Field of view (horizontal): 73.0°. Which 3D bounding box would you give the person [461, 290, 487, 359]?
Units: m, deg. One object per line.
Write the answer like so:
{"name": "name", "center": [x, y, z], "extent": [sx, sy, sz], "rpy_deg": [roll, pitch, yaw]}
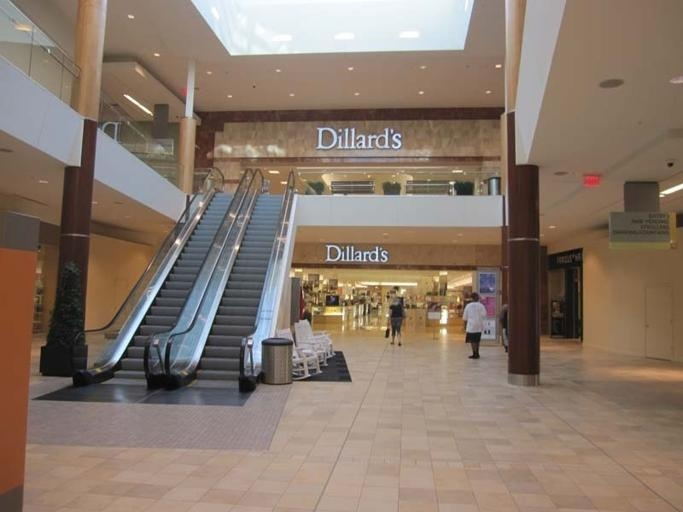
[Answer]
{"name": "person", "center": [3.790, 1.984, 13.292], "extent": [0.582, 1.868, 0.561], "rpy_deg": [-1, -1, -10]}

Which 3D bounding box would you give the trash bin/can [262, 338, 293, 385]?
{"name": "trash bin/can", "center": [-1.184, 1.964, 8.531], "extent": [0.681, 0.815, 0.712], "rpy_deg": [0, -3, 6]}

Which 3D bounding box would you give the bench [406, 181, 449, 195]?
{"name": "bench", "center": [2.888, -2.300, 15.478], "extent": [1.499, 0.521, 0.090], "rpy_deg": [1, -5, 6]}
